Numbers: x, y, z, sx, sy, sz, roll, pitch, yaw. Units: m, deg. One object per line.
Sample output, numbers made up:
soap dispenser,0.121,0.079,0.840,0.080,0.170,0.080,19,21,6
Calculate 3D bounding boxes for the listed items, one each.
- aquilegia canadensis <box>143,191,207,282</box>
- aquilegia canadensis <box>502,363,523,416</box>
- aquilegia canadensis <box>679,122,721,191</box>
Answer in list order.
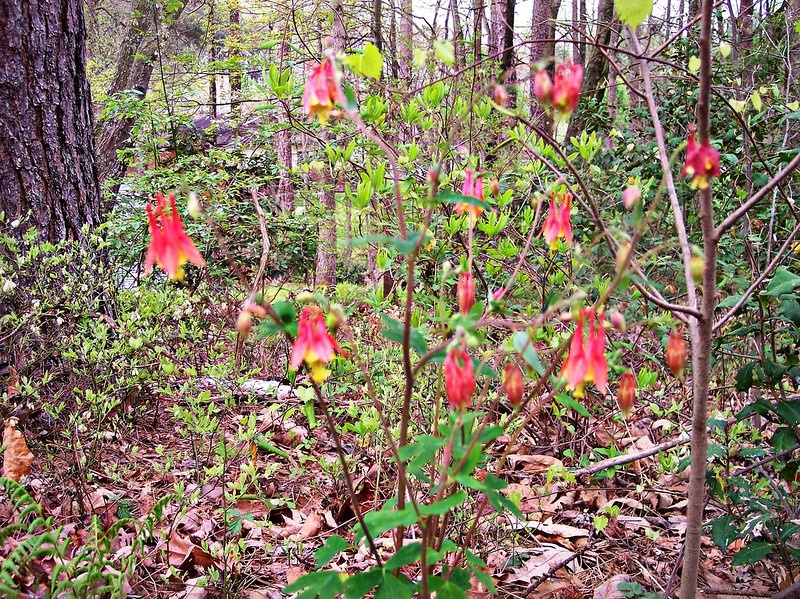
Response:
aquilegia canadensis,-0.941,-0.244,2.891,0.220,0.437,0.400,-10,25,-20
aquilegia canadensis,0.458,0.365,2.888,0.105,0.214,0.093,-6,-14,35
aquilegia canadensis,1.243,-0.557,2.917,0.138,0.262,0.323,9,26,21
